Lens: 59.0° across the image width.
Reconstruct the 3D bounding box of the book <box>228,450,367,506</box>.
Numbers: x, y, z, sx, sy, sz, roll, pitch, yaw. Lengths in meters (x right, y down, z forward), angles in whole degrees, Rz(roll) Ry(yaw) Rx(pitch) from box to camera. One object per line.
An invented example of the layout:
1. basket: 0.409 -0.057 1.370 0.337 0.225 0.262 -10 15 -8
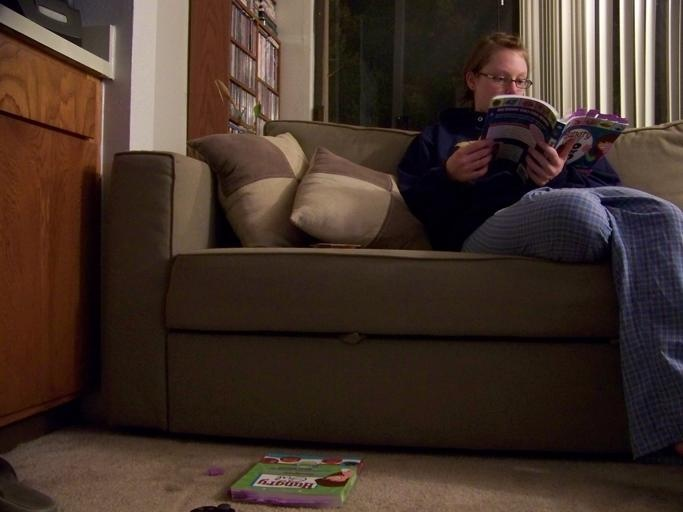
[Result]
1. book: -0.106 0.533 1.466 0.275 0.036 0.257 2 7 14
